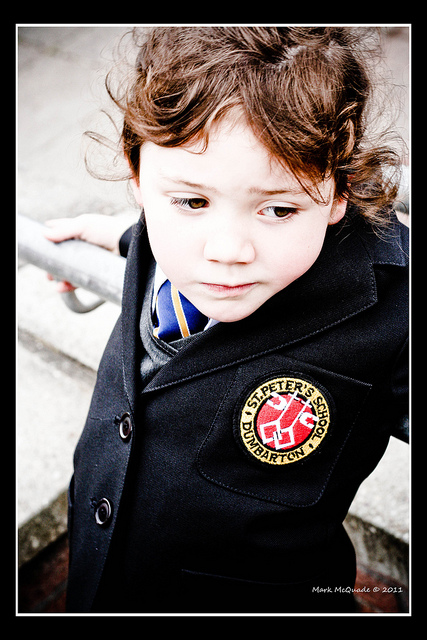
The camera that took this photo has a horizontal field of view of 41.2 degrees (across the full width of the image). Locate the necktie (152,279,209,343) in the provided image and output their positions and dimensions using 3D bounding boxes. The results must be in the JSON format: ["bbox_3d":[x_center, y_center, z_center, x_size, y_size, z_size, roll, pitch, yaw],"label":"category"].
[{"bbox_3d":[-0.064,-0.008,1.128,0.114,0.036,0.127,-13,53,-20],"label":"necktie"}]

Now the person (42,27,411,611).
[{"bbox_3d":[0.030,0.044,1.121,0.705,1.108,0.453,3,25,10],"label":"person"}]
